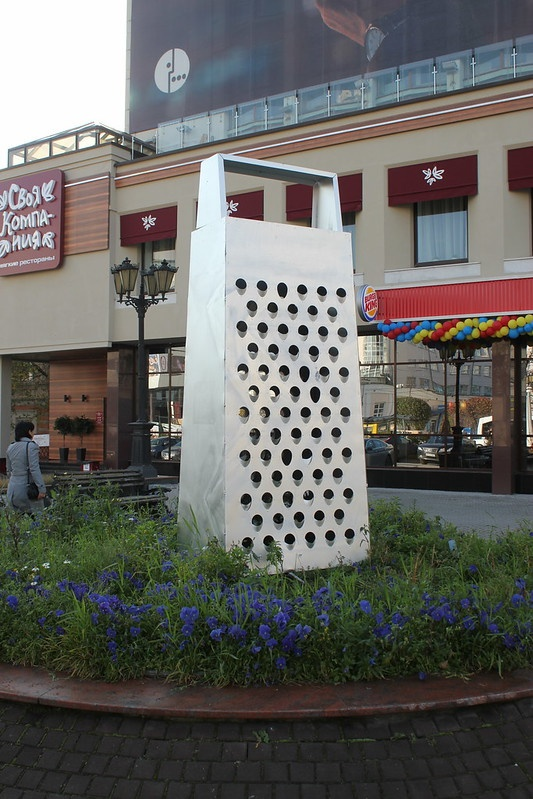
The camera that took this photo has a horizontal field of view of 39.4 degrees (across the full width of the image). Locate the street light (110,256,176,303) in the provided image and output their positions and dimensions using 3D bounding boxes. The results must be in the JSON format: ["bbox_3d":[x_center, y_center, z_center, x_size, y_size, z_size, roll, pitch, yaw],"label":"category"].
[{"bbox_3d":[-2.159,-2.104,13.104,1.100,0.762,1.397,0,2,14],"label":"street light"}]

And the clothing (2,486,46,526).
[{"bbox_3d":[-2.528,1.038,7.745,0.373,0.340,0.376,1,-2,-20],"label":"clothing"}]
